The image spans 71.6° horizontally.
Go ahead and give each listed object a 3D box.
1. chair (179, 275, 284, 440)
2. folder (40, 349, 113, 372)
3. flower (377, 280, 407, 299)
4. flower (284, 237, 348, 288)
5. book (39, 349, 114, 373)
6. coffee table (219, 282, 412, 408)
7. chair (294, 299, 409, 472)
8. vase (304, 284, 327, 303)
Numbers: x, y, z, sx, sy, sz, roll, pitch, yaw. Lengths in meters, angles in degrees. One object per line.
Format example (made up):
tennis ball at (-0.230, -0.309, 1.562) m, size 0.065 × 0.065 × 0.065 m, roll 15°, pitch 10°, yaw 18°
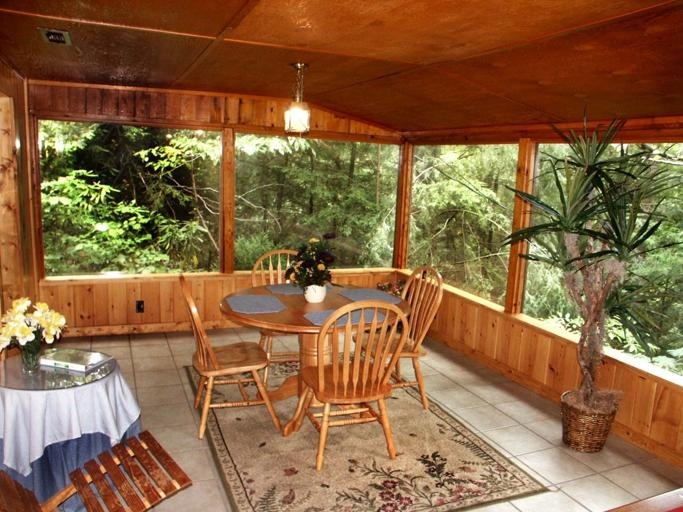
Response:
chair at (-0.956, 0.905, 4.106) m, size 1.123 × 1.395 × 0.859 m, roll -3°, pitch 21°, yaw -16°
folder at (-1.691, 0.671, 3.016) m, size 0.263 × 0.035 × 0.224 m, roll 3°, pitch 3°, yaw 14°
flower at (0.630, 0.408, 5.869) m, size 0.271 × 0.111 × 0.228 m, roll -1°, pitch 9°, yaw -1°
flower at (-0.207, 0.106, 3.886) m, size 0.396 × 0.361 × 0.434 m, roll -12°, pitch 4°, yaw 15°
book at (-1.690, 0.672, 3.010) m, size 0.269 × 0.036 × 0.227 m, roll 4°, pitch 4°, yaw 19°
coffee table at (-0.210, 0.740, 3.903) m, size 1.453 × 0.715 × 1.383 m, roll -7°, pitch 7°, yaw -39°
chair at (-0.039, 0.886, 3.492) m, size 0.918 × 1.016 × 0.856 m, roll 1°, pitch -3°, yaw -4°
vase at (-0.226, 0.305, 3.855) m, size 0.164 × 0.101 × 0.158 m, roll 0°, pitch 10°, yaw 1°
